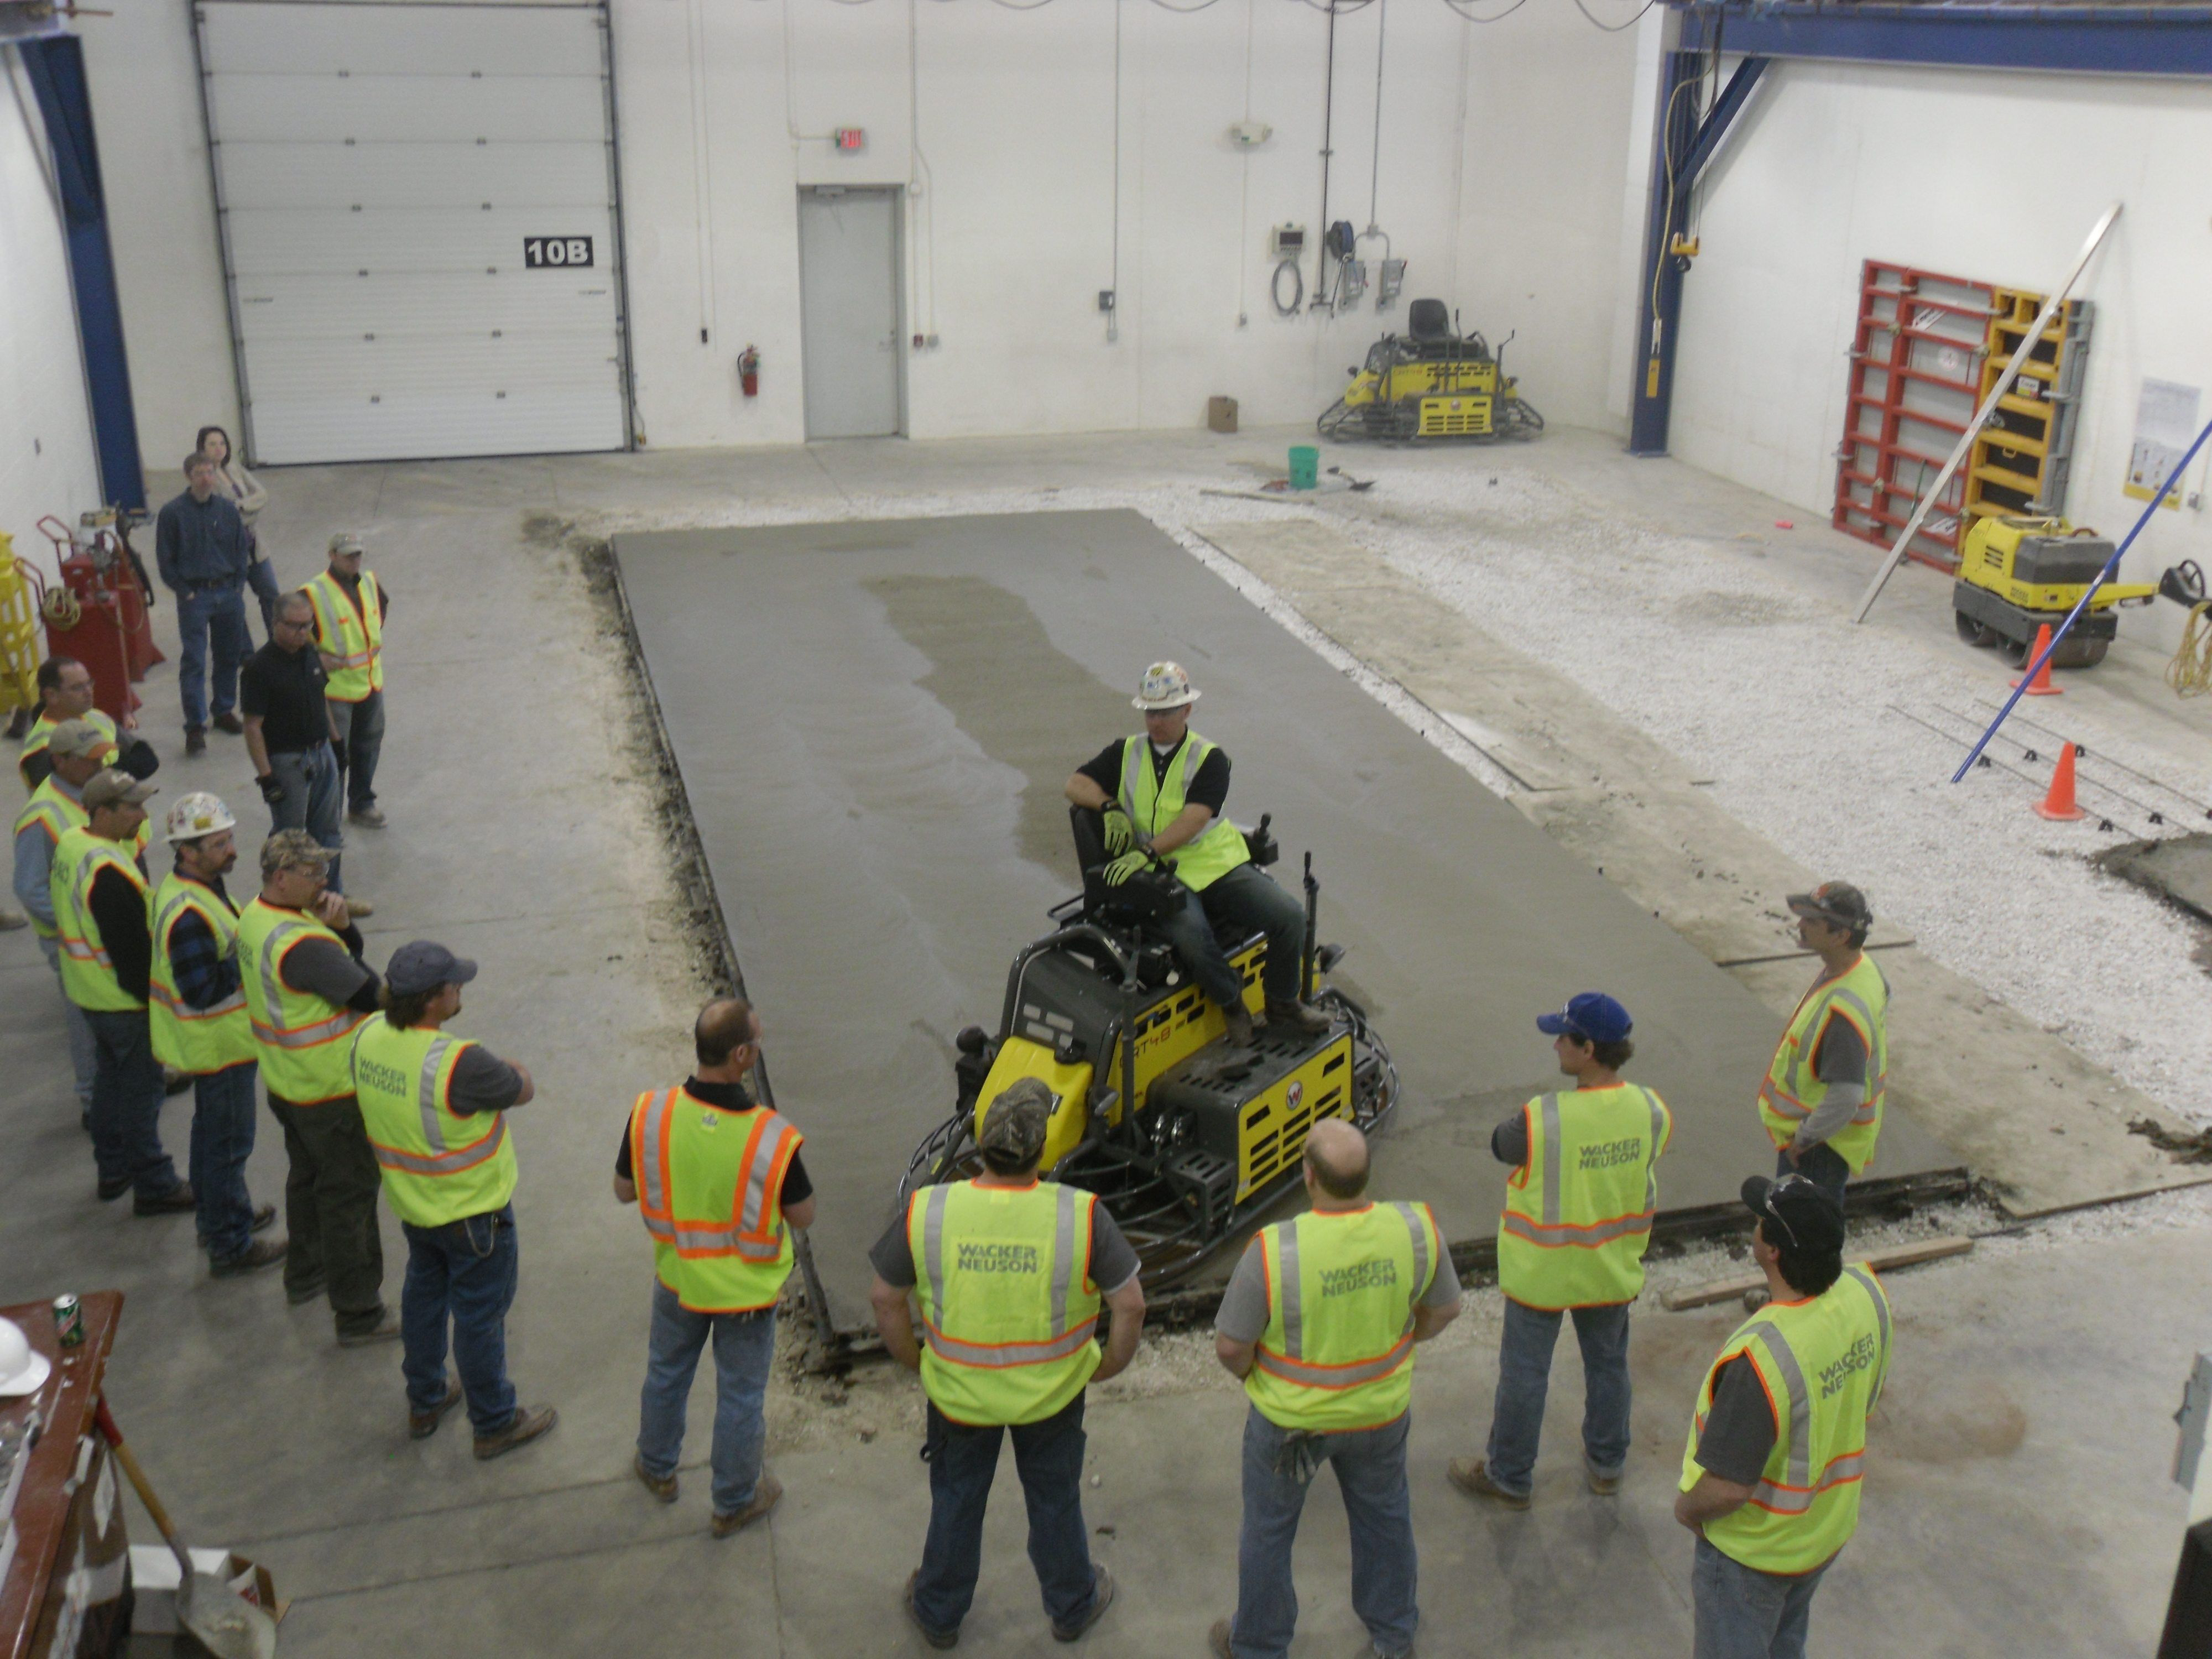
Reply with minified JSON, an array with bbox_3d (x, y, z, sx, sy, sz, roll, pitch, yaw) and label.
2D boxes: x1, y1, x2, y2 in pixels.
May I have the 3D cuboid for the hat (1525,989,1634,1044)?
[{"bbox_3d":[1.562,0.638,5.733,0.303,0.170,0.207,10,30,20],"label":"hat"}]

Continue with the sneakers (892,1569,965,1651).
[{"bbox_3d":[-0.560,2.509,5.567,0.124,0.126,0.287,-5,32,-16],"label":"sneakers"}]

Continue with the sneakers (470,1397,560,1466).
[{"bbox_3d":[-2.146,2.161,6.342,0.298,0.131,0.109,-21,36,-36],"label":"sneakers"}]

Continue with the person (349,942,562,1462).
[{"bbox_3d":[-2.304,1.300,6.104,0.546,1.848,0.404,4,22,13],"label":"person"}]

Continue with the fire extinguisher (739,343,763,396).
[{"bbox_3d":[-4.000,-5.140,19.555,0.277,0.586,0.123,-5,21,-11],"label":"fire extinguisher"}]

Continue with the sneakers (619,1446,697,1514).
[{"bbox_3d":[-1.577,2.262,6.100,0.101,0.093,0.211,-7,28,-24],"label":"sneakers"}]

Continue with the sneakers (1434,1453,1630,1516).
[{"bbox_3d":[1.490,2.298,6.115,0.611,0.283,0.217,4,26,-2],"label":"sneakers"}]

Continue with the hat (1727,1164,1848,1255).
[{"bbox_3d":[1.909,1.022,4.823,0.229,0.150,0.316,5,23,14],"label":"hat"}]

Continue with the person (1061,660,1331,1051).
[{"bbox_3d":[0.363,0.100,7.262,1.010,1.608,0.604,-2,21,-3],"label":"person"}]

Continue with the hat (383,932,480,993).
[{"bbox_3d":[-2.326,0.466,5.986,0.274,0.218,0.329,-6,23,-12],"label":"hat"}]

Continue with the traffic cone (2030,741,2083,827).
[{"bbox_3d":[6.174,-0.347,11.189,0.228,0.431,0.571,10,25,26],"label":"traffic cone"}]

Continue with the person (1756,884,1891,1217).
[{"bbox_3d":[2.910,0.929,7.042,0.368,1.460,0.619,17,44,24],"label":"person"}]

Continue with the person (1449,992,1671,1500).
[{"bbox_3d":[1.552,1.421,5.892,0.645,1.830,0.343,0,21,2],"label":"person"}]

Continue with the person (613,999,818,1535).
[{"bbox_3d":[-1.315,1.447,5.813,0.701,1.866,0.441,-1,21,-1],"label":"person"}]

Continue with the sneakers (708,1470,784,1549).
[{"bbox_3d":[-1.233,2.334,5.985,0.109,0.175,0.274,20,37,30],"label":"sneakers"}]

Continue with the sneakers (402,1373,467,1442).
[{"bbox_3d":[-2.448,2.114,6.379,0.089,0.111,0.257,6,31,14],"label":"sneakers"}]

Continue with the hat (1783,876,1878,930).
[{"bbox_3d":[3.213,0.327,7.716,0.325,0.178,0.225,21,12,11],"label":"hat"}]

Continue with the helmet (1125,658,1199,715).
[{"bbox_3d":[0.262,-0.590,7.232,0.267,0.191,0.358,2,20,14],"label":"helmet"}]

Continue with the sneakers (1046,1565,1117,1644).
[{"bbox_3d":[-0.070,2.500,5.609,0.101,0.120,0.298,8,31,17],"label":"sneakers"}]
